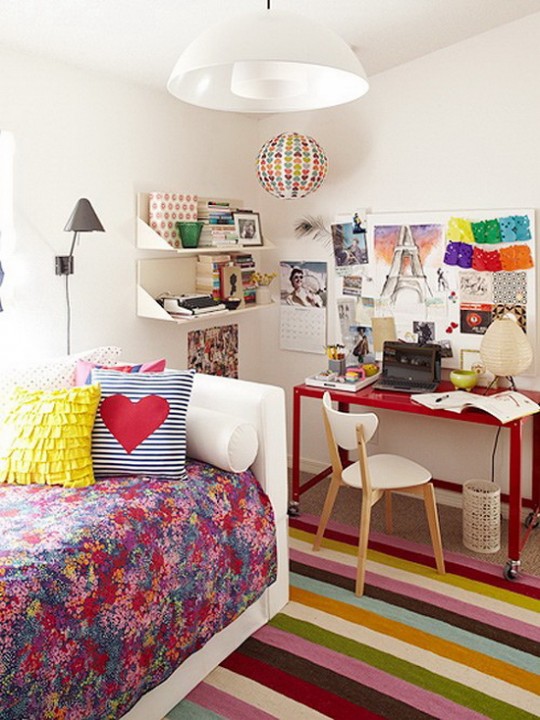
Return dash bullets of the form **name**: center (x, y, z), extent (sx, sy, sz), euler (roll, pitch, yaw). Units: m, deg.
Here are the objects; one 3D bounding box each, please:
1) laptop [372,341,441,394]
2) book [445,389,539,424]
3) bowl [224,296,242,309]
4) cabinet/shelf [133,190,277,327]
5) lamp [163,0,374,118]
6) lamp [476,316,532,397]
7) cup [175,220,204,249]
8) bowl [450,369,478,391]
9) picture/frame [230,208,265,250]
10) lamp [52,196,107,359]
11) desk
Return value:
- **laptop**: center (0.725, 0.034, 2.963), extent (0.327, 0.256, 0.231), euler (10, 10, 25)
- **book**: center (0.969, 0.201, 2.512), extent (0.335, 0.085, 0.348), euler (-7, 10, -45)
- **bowl**: center (-0.217, -0.327, 3.240), extent (0.074, 0.040, 0.075), euler (1, 3, 0)
- **cabinet/shelf**: center (-0.310, -0.571, 3.196), extent (0.322, 0.719, 0.994), euler (4, 8, 29)
- **lamp**: center (-0.016, -0.669, 1.325), extent (0.485, 0.149, 0.546), euler (1, 7, 9)
- **lamp**: center (1.039, -0.021, 2.649), extent (0.293, 0.445, 0.295), euler (1, 7, 16)
- **cup**: center (-0.434, -0.644, 2.974), extent (0.153, 0.124, 0.131), euler (-4, 5, -37)
- **bowl**: center (0.968, 0.097, 2.836), extent (0.113, 0.073, 0.099), euler (-3, 5, -22)
- **picture/frame**: center (-0.141, -0.759, 3.312), extent (0.032, 0.264, 0.320), euler (-5, 10, 30)
- **lamp**: center (-0.825, -0.354, 2.463), extent (0.204, 0.684, 0.371), euler (-2, 7, -16)
- **desk**: center (0.793, 0.358, 2.846), extent (1.320, 0.870, 0.776), euler (3, 5, 30)
